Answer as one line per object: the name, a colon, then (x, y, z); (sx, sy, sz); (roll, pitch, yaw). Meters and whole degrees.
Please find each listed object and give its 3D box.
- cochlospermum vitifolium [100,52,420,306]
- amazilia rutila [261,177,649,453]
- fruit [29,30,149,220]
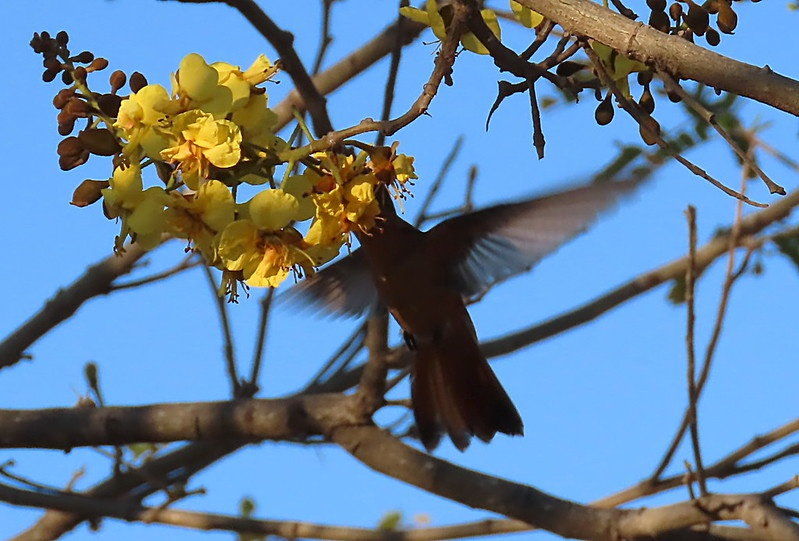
cochlospermum vitifolium: (-0.336, -0.120, 3.916); (0.589, 0.541, 0.467); (-5, -103, 11)
amazilia rutila: (0.157, -0.114, 4.460); (0.382, 0.587, 1.098); (-3, -81, -7)
fruit: (-0.616, -0.284, 3.498); (0.189, 0.184, 0.547); (-3, -88, 28)
